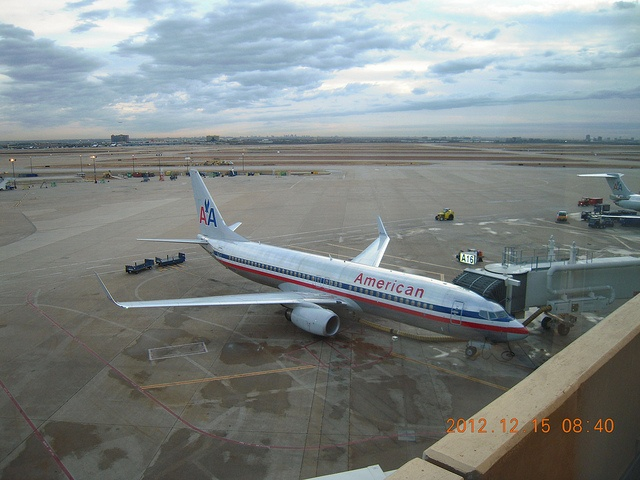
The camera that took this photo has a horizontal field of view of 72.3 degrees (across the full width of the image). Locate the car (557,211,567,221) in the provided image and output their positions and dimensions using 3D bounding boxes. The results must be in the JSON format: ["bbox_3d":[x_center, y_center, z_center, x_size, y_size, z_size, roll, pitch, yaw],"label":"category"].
[{"bbox_3d":[40.138,-3.937,72.551,1.389,0.743,2.390,4,18,26],"label":"car"}]

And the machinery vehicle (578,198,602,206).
[{"bbox_3d":[53.306,-7.200,85.465,4.896,1.252,2.099,-2,11,-5],"label":"machinery vehicle"}]
